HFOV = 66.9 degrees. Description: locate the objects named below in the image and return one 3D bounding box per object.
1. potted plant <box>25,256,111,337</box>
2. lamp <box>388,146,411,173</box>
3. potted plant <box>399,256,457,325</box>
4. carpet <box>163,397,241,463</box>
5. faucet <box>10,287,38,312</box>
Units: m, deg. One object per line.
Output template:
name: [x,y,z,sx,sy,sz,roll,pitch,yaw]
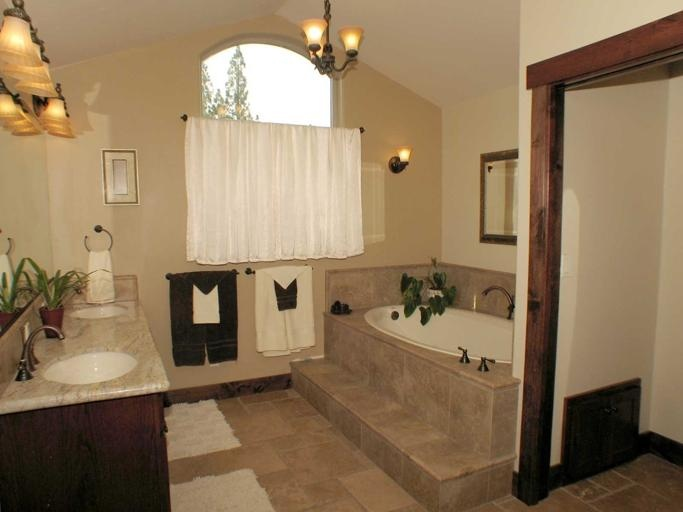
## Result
potted plant: [-1.842,0.236,3.384,0.510,0.447,0.551,4,1,-5]
lamp: [0.535,-0.893,4.815,0.170,0.238,0.203,-3,4,-29]
potted plant: [0.785,0.333,4.811,0.550,0.619,0.488,-1,3,-4]
carpet: [-1.042,1.313,3.848,0.365,0.026,0.623,0,3,-24]
faucet: [-1.858,0.252,3.035,0.082,0.141,0.133,11,-1,0]
